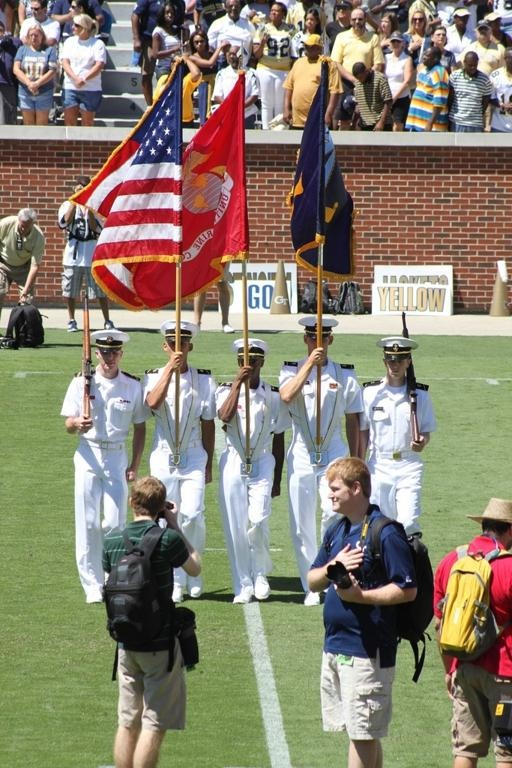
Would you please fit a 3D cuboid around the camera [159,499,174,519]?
[{"bbox_3d":[-0.603,0.834,15.800,0.045,0.058,0.107,35,26,-16],"label":"camera"}]

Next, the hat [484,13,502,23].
[{"bbox_3d":[3.139,-4.930,32.361,0.201,0.153,0.323,-10,6,-16],"label":"hat"}]

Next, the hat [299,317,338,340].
[{"bbox_3d":[0.490,-0.456,19.791,0.316,0.209,0.448,0,6,-1],"label":"hat"}]

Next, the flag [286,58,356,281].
[{"bbox_3d":[0.495,-1.730,19.684,0.487,1.906,1.098,1,9,8],"label":"flag"}]

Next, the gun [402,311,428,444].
[{"bbox_3d":[1.392,-0.029,21.322,0.115,1.445,0.297,-2,-15,-4],"label":"gun"}]

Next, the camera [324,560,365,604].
[{"bbox_3d":[0.530,1.245,15.204,0.125,0.190,0.184,-45,27,-11],"label":"camera"}]

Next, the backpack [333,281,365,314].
[{"bbox_3d":[1.183,-1.069,31.499,0.391,0.739,0.344,0,-6,-2],"label":"backpack"}]

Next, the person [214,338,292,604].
[{"bbox_3d":[-0.034,0.682,18.863,0.572,2.010,0.547,-4,9,-18],"label":"person"}]

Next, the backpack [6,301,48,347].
[{"bbox_3d":[-2.590,-0.640,26.720,0.404,0.575,0.358,3,7,14],"label":"backpack"}]

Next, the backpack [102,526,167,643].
[{"bbox_3d":[-0.788,1.321,15.499,0.383,0.732,0.280,-1,9,-4],"label":"backpack"}]

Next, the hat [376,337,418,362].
[{"bbox_3d":[1.098,-0.281,18.892,0.296,0.201,0.355,-1,11,-1],"label":"hat"}]

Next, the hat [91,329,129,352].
[{"bbox_3d":[-1.132,-0.331,18.606,0.242,0.174,0.183,-3,10,-11],"label":"hat"}]

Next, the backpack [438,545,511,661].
[{"bbox_3d":[1.384,1.465,15.587,0.473,0.721,0.296,-3,9,-15],"label":"backpack"}]

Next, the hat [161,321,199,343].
[{"bbox_3d":[-0.637,-0.417,19.407,0.307,0.198,0.422,0,-3,-2],"label":"hat"}]
